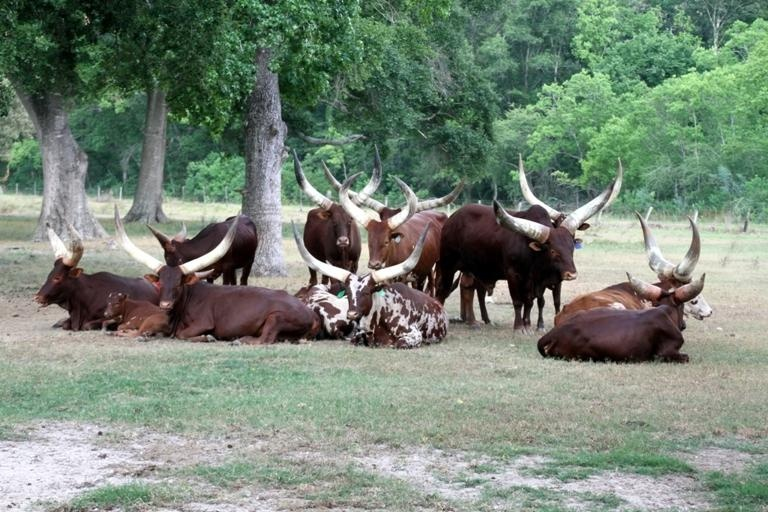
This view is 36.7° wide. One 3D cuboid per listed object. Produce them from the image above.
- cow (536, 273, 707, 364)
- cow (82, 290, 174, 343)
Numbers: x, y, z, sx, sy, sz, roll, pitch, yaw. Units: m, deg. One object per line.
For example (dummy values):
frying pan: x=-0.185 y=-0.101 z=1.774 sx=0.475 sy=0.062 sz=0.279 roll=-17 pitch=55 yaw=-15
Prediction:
cow: x=4.785 y=1.412 z=22.802 sx=2.949 sy=1.449 sz=1.739 roll=-6 pitch=8 yaw=-21
cow: x=-5.338 y=1.273 z=24.296 sx=0.670 sy=0.873 sz=1.951 roll=15 pitch=-7 yaw=-43
